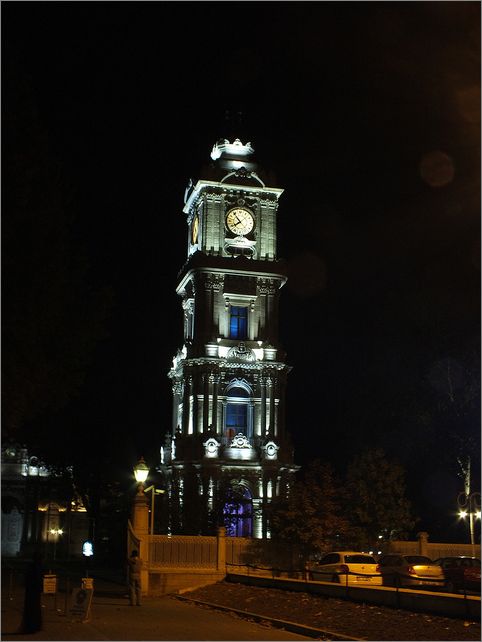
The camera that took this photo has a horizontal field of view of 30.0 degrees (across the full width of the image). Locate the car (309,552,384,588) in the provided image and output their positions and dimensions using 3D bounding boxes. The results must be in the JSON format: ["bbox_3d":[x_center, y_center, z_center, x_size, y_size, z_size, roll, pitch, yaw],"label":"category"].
[{"bbox_3d":[3.696,8.657,31.491,2.314,1.426,5.507,-1,-20,4],"label":"car"}]

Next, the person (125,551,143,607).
[{"bbox_3d":[-3.131,7.500,26.278,0.423,1.603,1.153,3,-21,-6],"label":"person"}]
